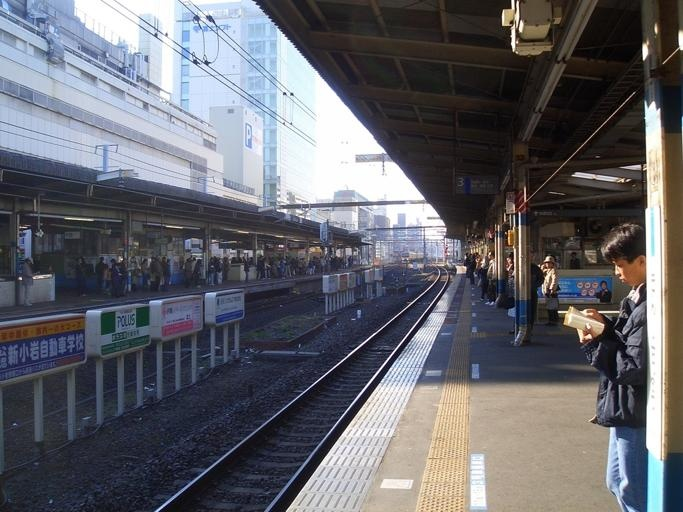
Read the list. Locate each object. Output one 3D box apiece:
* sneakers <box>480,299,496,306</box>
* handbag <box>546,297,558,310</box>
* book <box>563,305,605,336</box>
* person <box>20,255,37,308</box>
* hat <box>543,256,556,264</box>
[{"bbox_3d":[5.786,1.812,24.372,0.193,0.248,0.544,-3,-5,-41],"label":"sneakers"},{"bbox_3d":[5.317,1.208,15.619,0.239,0.360,0.357,1,-2,13],"label":"handbag"},{"bbox_3d":[1.820,0.493,4.708,0.296,0.201,0.127,30,-27,-5],"label":"book"},{"bbox_3d":[-10.292,0.817,20.323,0.363,1.731,1.328,1,0,-28],"label":"person"},{"bbox_3d":[5.490,0.100,16.324,0.244,0.136,0.236,0,-4,-45],"label":"hat"}]
